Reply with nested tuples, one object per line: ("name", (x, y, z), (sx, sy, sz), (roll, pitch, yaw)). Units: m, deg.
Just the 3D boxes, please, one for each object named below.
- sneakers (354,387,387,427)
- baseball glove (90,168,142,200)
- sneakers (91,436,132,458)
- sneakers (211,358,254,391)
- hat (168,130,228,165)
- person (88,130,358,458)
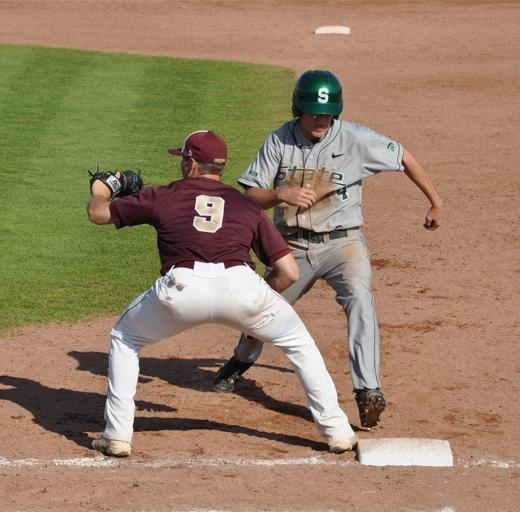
("sneakers", (0.708, 1.003, 6.053), (0.170, 0.356, 0.150), (1, 26, -8))
("baseball glove", (-0.902, -0.457, 5.875), (0.307, 0.100, 0.204), (-2, -7, -22))
("sneakers", (-0.894, 1.150, 5.714), (0.282, 0.097, 0.102), (13, 9, 23))
("sneakers", (-0.229, 0.853, 6.805), (0.194, 0.131, 0.417), (-24, 10, 35))
("hat", (-0.396, -0.665, 5.717), (0.359, 0.147, 0.229), (20, 24, 33))
("person", (-0.270, 0.223, 5.766), (1.552, 1.916, 1.059), (0, 25, -9))
